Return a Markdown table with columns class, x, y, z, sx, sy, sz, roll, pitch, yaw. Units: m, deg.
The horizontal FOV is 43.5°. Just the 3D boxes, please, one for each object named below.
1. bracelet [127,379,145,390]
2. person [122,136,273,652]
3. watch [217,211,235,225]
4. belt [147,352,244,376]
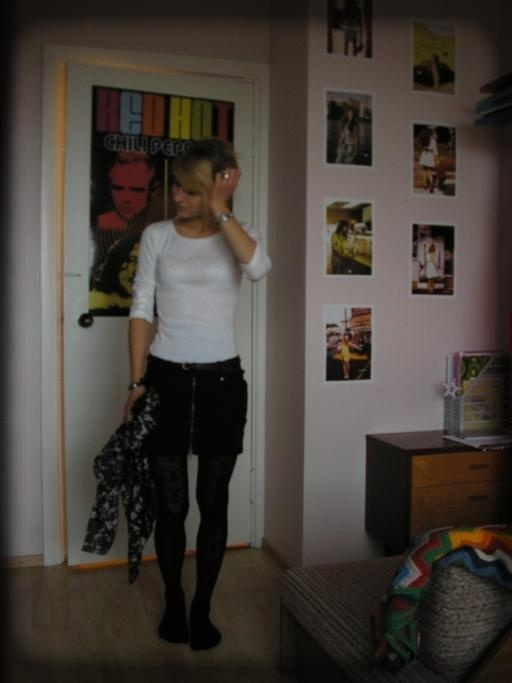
| class | x | y | z | sx | sy | sz | roll | pitch | yaw |
| --- | --- | --- | --- | --- | --- | --- | --- | --- | --- |
| bracelet | -0.241 | 0.089 | 1.286 | 0.025 | 0.012 | 0.020 | -35 | 1 | 27 |
| person | -0.121 | 0.106 | 1.281 | 0.276 | 0.969 | 0.223 | 0 | 3 | -15 |
| watch | -0.049 | -0.224 | 1.182 | 0.017 | 0.014 | 0.025 | -7 | -33 | -22 |
| belt | -0.120 | 0.045 | 1.256 | 0.186 | 0.028 | 0.063 | 1 | 4 | -7 |
